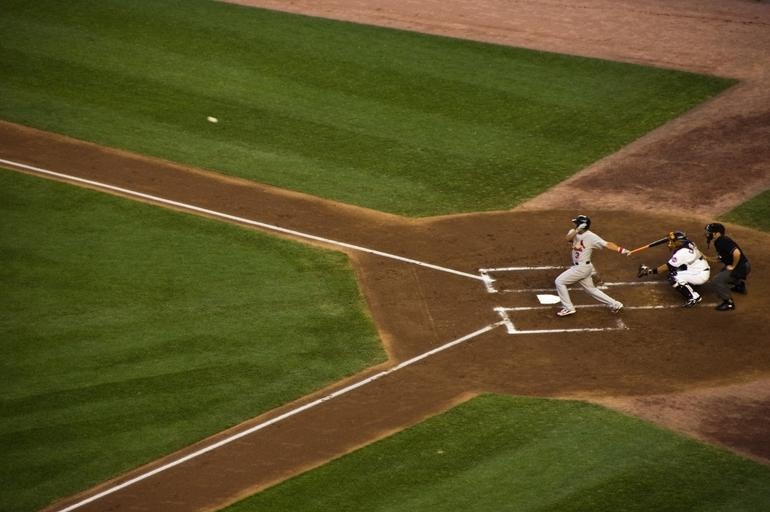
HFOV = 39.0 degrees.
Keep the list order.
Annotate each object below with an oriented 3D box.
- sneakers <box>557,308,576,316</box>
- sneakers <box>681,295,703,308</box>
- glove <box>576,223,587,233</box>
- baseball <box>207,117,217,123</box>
[{"bbox_3d":[4.839,1.543,29.161,0.594,0.159,0.155,1,22,-1],"label":"sneakers"},{"bbox_3d":[8.222,1.254,29.118,0.678,0.229,0.209,-24,13,-4],"label":"sneakers"},{"bbox_3d":[5.250,-0.733,28.906,0.273,0.199,0.157,-11,-5,0],"label":"glove"},{"bbox_3d":[-5.505,-4.360,34.881,0.303,0.066,0.179,24,42,26],"label":"baseball"}]
